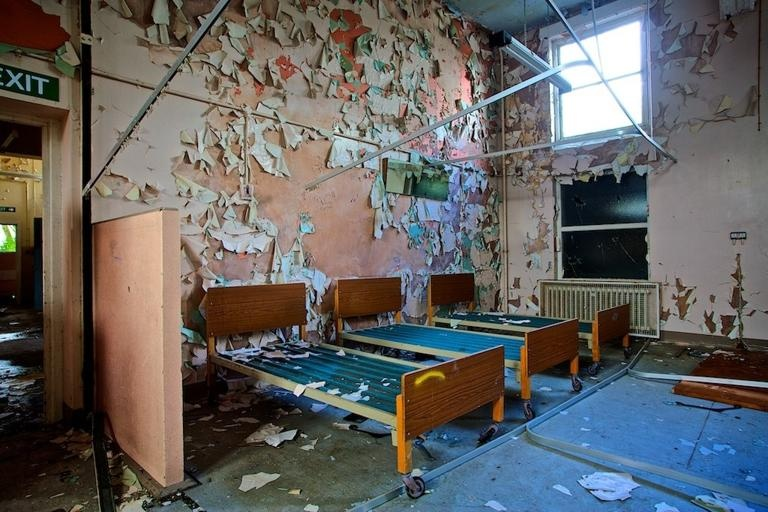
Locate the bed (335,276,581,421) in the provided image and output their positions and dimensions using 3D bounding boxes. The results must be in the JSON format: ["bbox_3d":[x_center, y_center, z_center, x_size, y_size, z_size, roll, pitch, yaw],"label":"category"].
[{"bbox_3d":[0.859,0.860,5.931,1.801,0.874,1.779,-1,0,-43],"label":"bed"}]

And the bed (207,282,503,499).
[{"bbox_3d":[-0.460,1.039,4.998,1.458,1.295,2.775,-1,0,-43],"label":"bed"}]

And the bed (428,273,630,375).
[{"bbox_3d":[1.892,0.766,6.968,2.253,0.991,2.134,3,-1,22],"label":"bed"}]

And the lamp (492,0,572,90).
[{"bbox_3d":[2.173,-3.105,7.356,0.381,0.350,2.634,24,7,40],"label":"lamp"}]
